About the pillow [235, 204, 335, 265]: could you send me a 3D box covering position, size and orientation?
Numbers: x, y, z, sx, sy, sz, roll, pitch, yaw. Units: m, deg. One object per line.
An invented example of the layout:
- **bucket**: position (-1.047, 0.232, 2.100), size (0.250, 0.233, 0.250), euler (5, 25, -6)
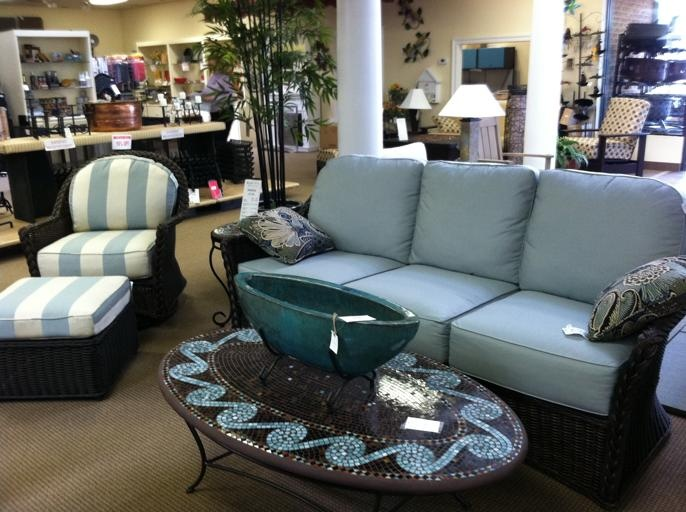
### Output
- **pillow**: position (-0.292, -0.119, 2.885), size (0.388, 0.126, 0.380), euler (-6, 39, -46)

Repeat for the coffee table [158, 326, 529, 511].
- **coffee table**: position (-0.037, 0.511, 1.705), size (1.267, 0.147, 0.622), euler (5, 20, 20)

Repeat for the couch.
- **couch**: position (0.497, 0.328, 2.036), size (1.385, 0.633, 0.548), euler (11, 25, 40)

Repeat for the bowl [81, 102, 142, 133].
- **bowl**: position (-2.308, -1.409, 5.014), size (0.575, 0.273, 0.601), euler (-3, 16, 1)
